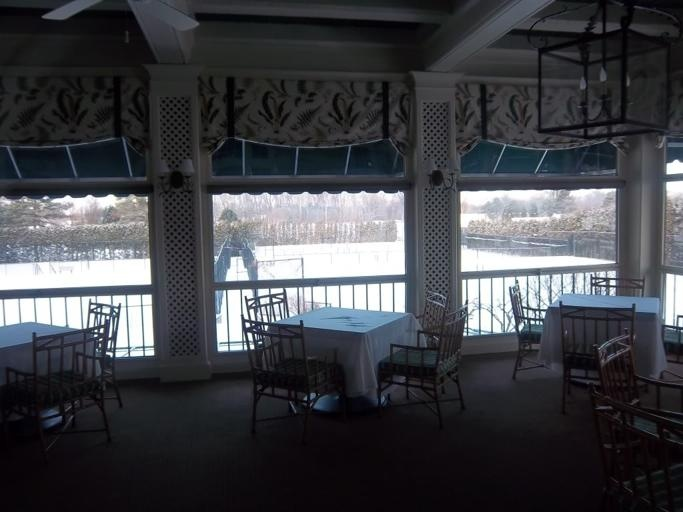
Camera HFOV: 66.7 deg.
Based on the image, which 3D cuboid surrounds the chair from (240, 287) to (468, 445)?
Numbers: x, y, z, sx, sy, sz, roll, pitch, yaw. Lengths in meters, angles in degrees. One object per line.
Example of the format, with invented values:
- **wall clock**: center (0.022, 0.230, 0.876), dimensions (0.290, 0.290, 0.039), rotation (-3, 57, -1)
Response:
- **chair**: center (0.152, 0.980, 4.849), dimensions (2.016, 1.129, 0.984), rotation (-4, 14, -10)
